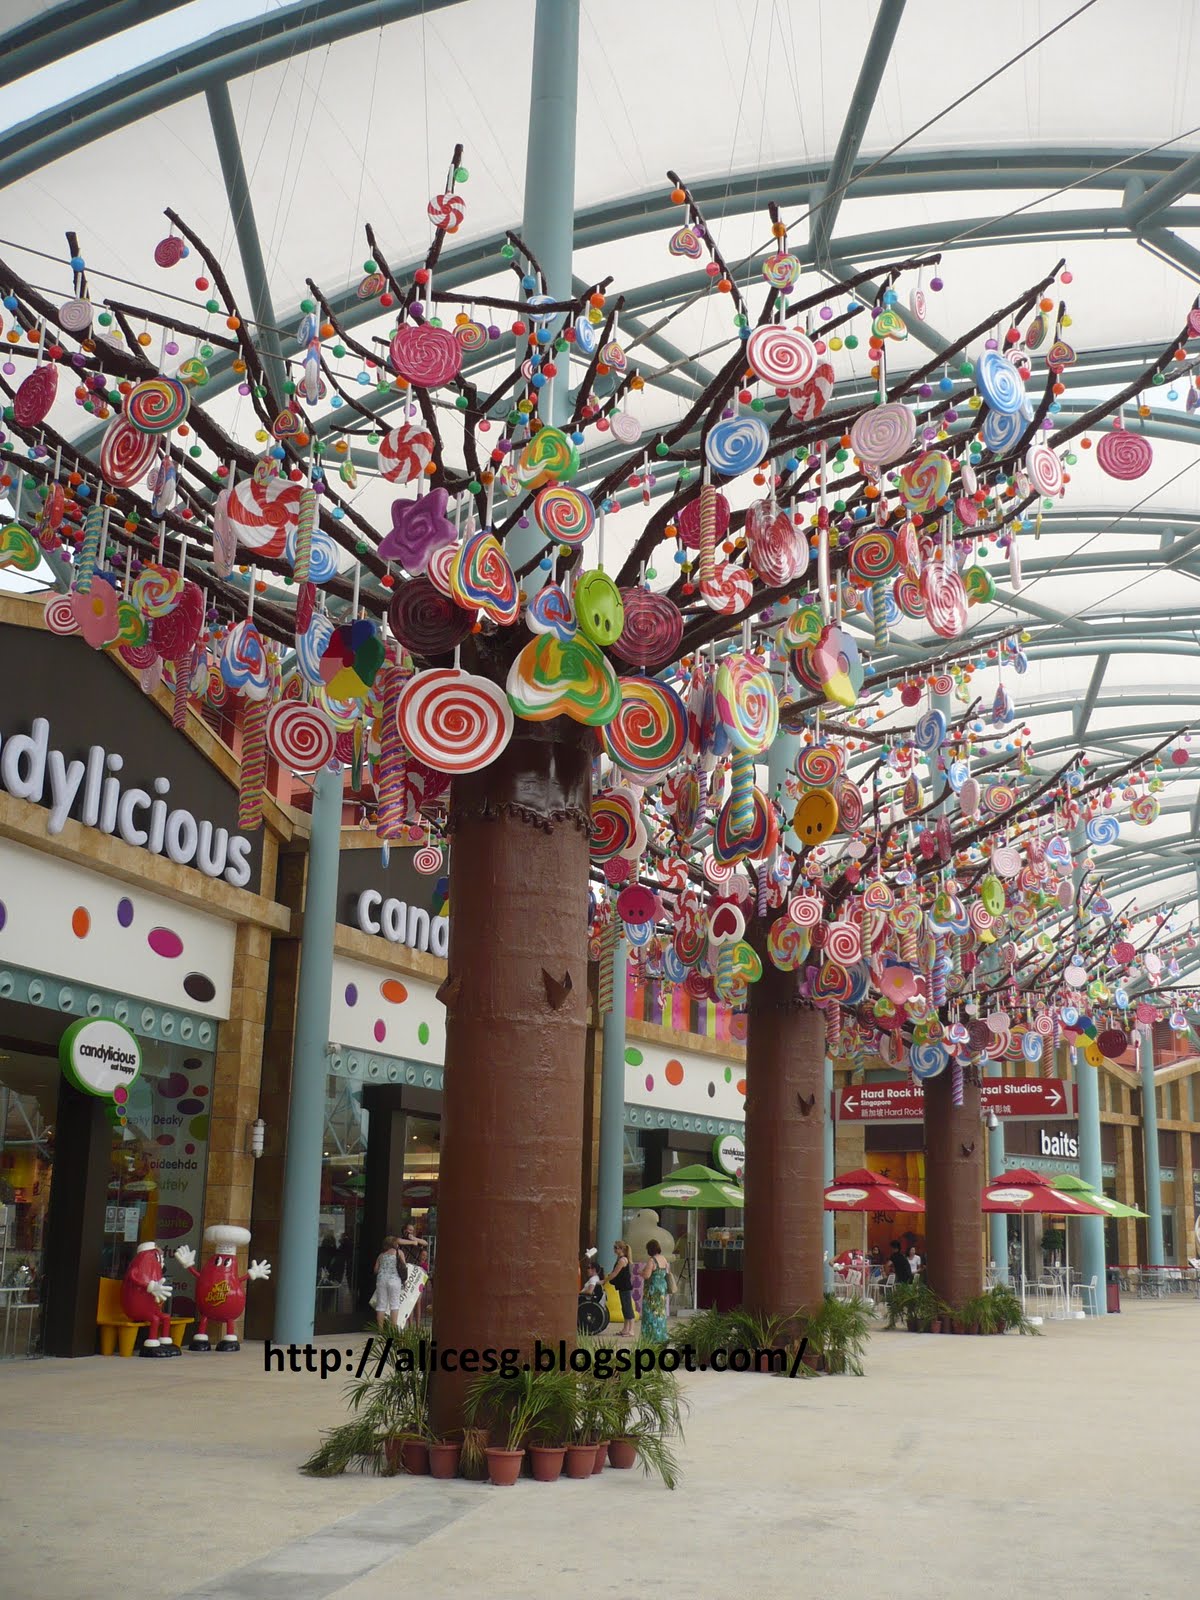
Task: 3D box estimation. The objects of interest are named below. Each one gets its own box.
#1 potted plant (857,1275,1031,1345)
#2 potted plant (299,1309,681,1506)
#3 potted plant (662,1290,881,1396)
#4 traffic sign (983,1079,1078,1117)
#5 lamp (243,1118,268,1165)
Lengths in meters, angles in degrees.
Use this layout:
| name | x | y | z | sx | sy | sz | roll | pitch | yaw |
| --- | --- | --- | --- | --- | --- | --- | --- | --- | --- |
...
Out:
| name | x | y | z | sx | sy | sz | roll | pitch | yaw |
| --- | --- | --- | --- | --- | --- | --- | --- | --- | --- |
| potted plant | 6.732 | 9.868 | 24.628 | 2.538 | 0.929 | 2.314 | -4 | -16 | 14 |
| potted plant | -0.604 | 3.542 | 7.343 | 2.094 | 0.782 | 1.266 | 4 | -16 | -12 |
| potted plant | 2.066 | 6.353 | 15.035 | 2.204 | 0.887 | 1.169 | 2 | -16 | -4 |
| traffic sign | 10.557 | 7.419 | 31.782 | 1.289 | 0.869 | 1.827 | 0 | -11 | 8 |
| lamp | -4.973 | 4.925 | 18.454 | 0.259 | 0.600 | 0.849 | 5 | -16 | -14 |
